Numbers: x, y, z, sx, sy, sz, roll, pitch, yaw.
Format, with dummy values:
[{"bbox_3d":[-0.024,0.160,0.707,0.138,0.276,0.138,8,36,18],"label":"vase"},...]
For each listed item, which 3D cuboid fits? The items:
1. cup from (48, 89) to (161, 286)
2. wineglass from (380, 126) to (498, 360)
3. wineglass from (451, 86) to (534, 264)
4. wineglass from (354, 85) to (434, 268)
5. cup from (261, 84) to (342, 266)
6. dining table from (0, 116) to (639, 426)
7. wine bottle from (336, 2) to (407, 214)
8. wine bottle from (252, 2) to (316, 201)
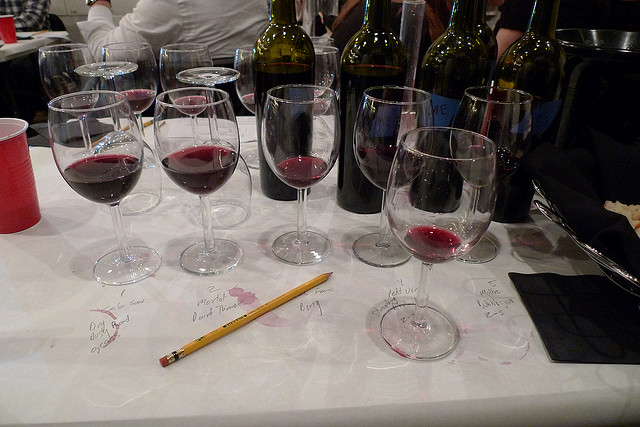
[{"bbox_3d":[-0.460,-0.077,0.970,0.157,0.345,0.326,-15,36,-28],"label":"cup"},{"bbox_3d":[0.201,0.050,0.835,0.185,0.367,0.225,-8,33,-19],"label":"wineglass"},{"bbox_3d":[0.380,-0.096,1.069,0.172,0.378,0.170,-20,31,-39],"label":"wineglass"},{"bbox_3d":[0.154,-0.080,1.009,0.157,0.358,0.168,9,19,20],"label":"wineglass"},{"bbox_3d":[-0.040,-0.089,1.002,0.160,0.379,0.164,0,17,0],"label":"cup"},{"bbox_3d":[-0.056,0.101,0.987,1.330,0.228,0.652,3,31,-3],"label":"dining table"},{"bbox_3d":[0.111,-0.167,1.020,0.145,0.545,0.129,3,28,9],"label":"wine bottle"},{"bbox_3d":[-0.076,-0.200,1.034,0.129,0.493,0.118,-1,29,1],"label":"wine bottle"}]
